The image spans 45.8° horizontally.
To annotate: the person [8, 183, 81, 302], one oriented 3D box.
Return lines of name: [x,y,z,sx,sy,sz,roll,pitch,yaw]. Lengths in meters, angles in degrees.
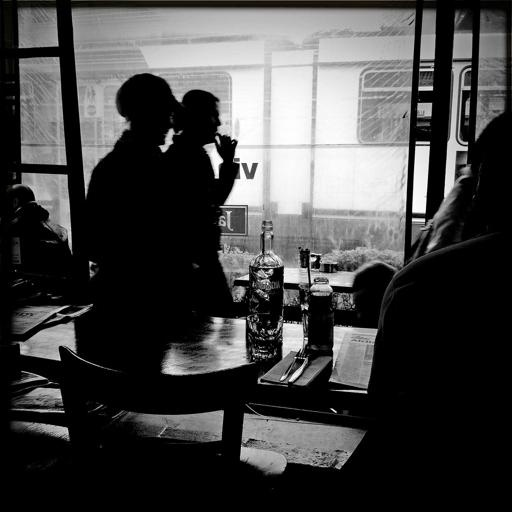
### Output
person: [-0.962,-0.089,2.715,0.262,0.451,0.839,-3,10,-23]

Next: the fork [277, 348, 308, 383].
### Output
fork: [0.099,0.279,1.580,0.030,0.027,0.167,0,13,14]

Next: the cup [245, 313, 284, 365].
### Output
cup: [0.021,0.236,1.728,0.098,0.134,0.115,0,-3,-2]

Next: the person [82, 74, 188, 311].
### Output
person: [-0.567,-0.348,2.841,0.469,0.983,0.385,-2,10,-18]

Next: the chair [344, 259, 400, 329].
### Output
chair: [0.410,0.131,2.141,0.136,0.210,0.199,3,0,12]
